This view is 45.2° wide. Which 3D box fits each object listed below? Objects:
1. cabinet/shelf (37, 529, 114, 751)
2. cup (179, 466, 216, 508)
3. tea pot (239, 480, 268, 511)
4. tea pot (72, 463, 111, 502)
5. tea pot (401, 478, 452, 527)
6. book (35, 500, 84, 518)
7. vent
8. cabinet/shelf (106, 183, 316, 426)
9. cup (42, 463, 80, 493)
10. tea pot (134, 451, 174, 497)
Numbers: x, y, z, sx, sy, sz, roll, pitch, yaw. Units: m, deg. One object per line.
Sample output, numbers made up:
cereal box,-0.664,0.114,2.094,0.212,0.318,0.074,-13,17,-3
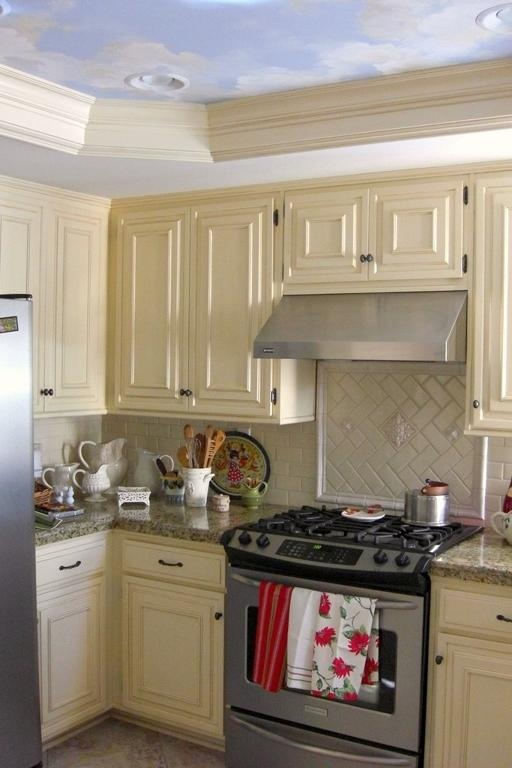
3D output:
cabinet/shelf,-0.761,1.027,2.508,0.103,0.559,0.410,1,1,21
cup,-0.267,0.448,2.846,0.224,0.207,0.154,0,-5,-5
tea pot,-0.014,0.511,2.910,0.131,0.133,0.096,4,-4,-44
tea pot,-0.836,0.494,3.101,0.227,0.191,0.156,-2,0,23
tea pot,0.655,0.448,2.371,0.161,0.157,0.163,0,-1,0
book,-0.843,0.535,2.600,0.121,0.028,0.114,1,-2,19
vent,0.384,-0.221,2.328,0.743,0.277,0.274,3,1,30
cabinet/shelf,-0.175,-0.370,2.724,1.069,1.091,0.382,0,-1,33
cup,-0.955,0.445,3.019,0.197,0.189,0.114,-2,7,-28
tea pot,-0.548,0.448,3.130,0.250,0.254,0.169,4,-5,-29
